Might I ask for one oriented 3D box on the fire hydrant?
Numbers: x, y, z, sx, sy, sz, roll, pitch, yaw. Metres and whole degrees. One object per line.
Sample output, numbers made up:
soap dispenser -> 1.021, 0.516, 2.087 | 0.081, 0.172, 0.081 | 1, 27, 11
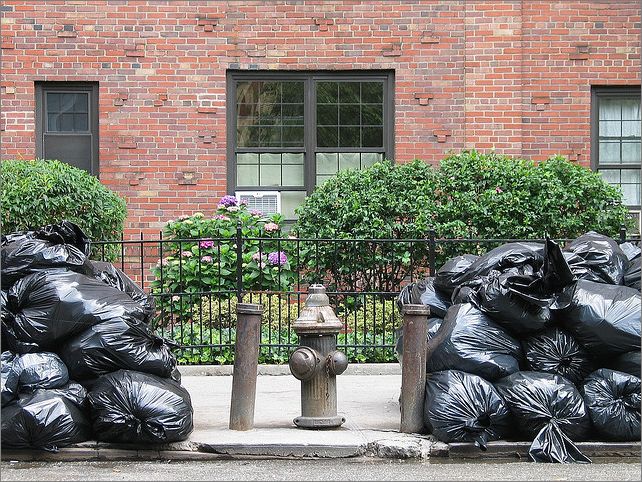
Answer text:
fire hydrant -> -0.022, 1.268, 13.691 | 0.608, 1.564, 0.326 | -1, -2, 0
